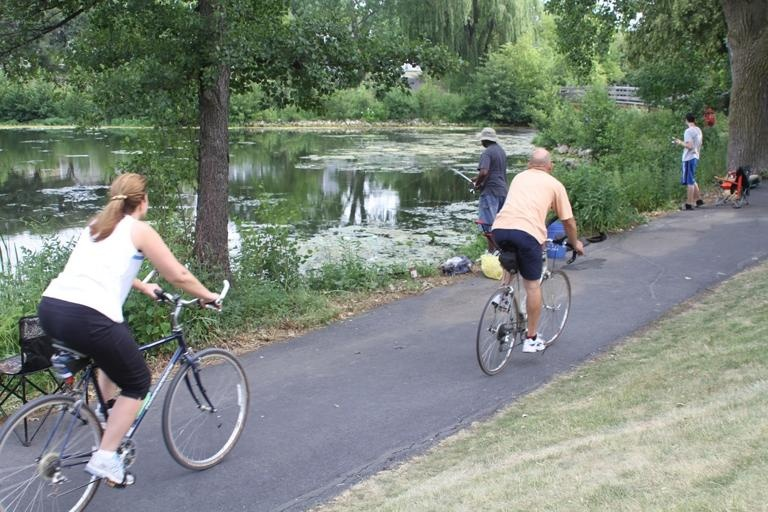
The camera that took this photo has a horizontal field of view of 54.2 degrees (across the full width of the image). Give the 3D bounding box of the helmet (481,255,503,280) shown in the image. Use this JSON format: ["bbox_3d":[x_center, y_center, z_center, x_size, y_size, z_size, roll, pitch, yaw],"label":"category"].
[{"bbox_3d":[1.947,0.205,13.792,0.449,0.513,0.498,0,0,-4],"label":"helmet"}]

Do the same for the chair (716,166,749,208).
[{"bbox_3d":[8.321,-1.641,17.828,0.635,0.899,1.139,1,8,24],"label":"chair"}]

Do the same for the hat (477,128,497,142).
[{"bbox_3d":[1.964,-2.314,14.148,0.309,0.178,0.320,1,3,-1],"label":"hat"}]

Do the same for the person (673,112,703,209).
[{"bbox_3d":[7.330,-2.268,17.911,0.561,2.242,1.090,0,8,23],"label":"person"}]

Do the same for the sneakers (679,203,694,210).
[{"bbox_3d":[7.188,-1.179,17.811,0.137,0.102,0.261,-2,10,-15],"label":"sneakers"}]

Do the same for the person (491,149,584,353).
[{"bbox_3d":[1.971,-0.064,9.860,1.060,2.640,0.494,-6,8,-24],"label":"person"}]

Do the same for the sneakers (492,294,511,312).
[{"bbox_3d":[1.516,0.607,9.735,0.120,0.118,0.212,9,-5,21],"label":"sneakers"}]

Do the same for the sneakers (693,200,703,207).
[{"bbox_3d":[7.610,-1.283,18.116,0.106,0.100,0.237,0,9,7],"label":"sneakers"}]
